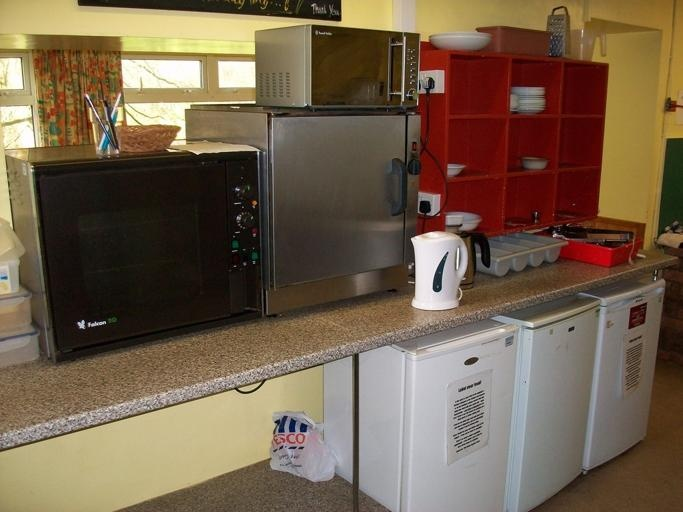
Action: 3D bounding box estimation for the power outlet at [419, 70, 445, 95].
[{"bbox_3d":[0.413,-0.793,2.456,0.107,0.104,0.059,4,3,-8],"label":"power outlet"}]

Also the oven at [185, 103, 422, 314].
[{"bbox_3d":[-0.117,-0.229,2.411,0.807,0.879,0.841,-11,17,-41],"label":"oven"}]

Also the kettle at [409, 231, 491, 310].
[{"bbox_3d":[0.392,0.056,2.231,0.319,0.335,0.210,-4,11,-20],"label":"kettle"}]

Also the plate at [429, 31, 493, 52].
[{"bbox_3d":[0.565,-1.032,2.592,0.254,0.092,0.207,-13,22,-29],"label":"plate"}]

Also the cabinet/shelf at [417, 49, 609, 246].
[{"bbox_3d":[0.994,-0.743,2.961,0.781,0.610,0.231,-16,21,-11],"label":"cabinet/shelf"}]

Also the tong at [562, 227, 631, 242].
[{"bbox_3d":[1.373,-0.110,2.897,0.362,0.047,0.118,3,20,14],"label":"tong"}]

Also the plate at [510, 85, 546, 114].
[{"bbox_3d":[0.974,-0.818,2.827,0.166,0.123,0.172,3,14,11],"label":"plate"}]

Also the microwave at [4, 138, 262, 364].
[{"bbox_3d":[-0.721,-0.006,2.045,0.925,0.821,0.665,-12,17,-40],"label":"microwave"}]

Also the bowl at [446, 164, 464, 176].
[{"bbox_3d":[0.559,-0.417,2.624,0.057,0.064,0.118,10,22,31],"label":"bowl"}]
